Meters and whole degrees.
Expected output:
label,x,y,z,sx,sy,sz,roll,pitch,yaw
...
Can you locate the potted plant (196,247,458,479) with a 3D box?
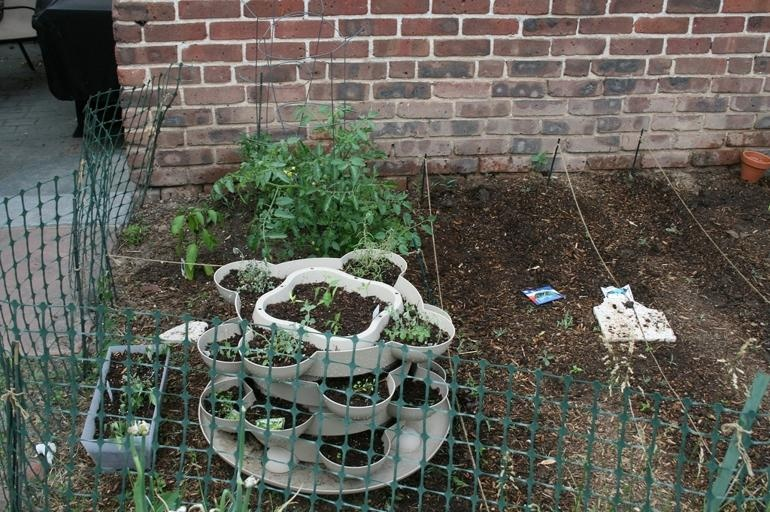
label,x,y,z,sx,sy,sz,roll,pitch,yaw
potted plant,-0.386,0.611,3.946,1.256,0.494,1.201,-14,40,-22
